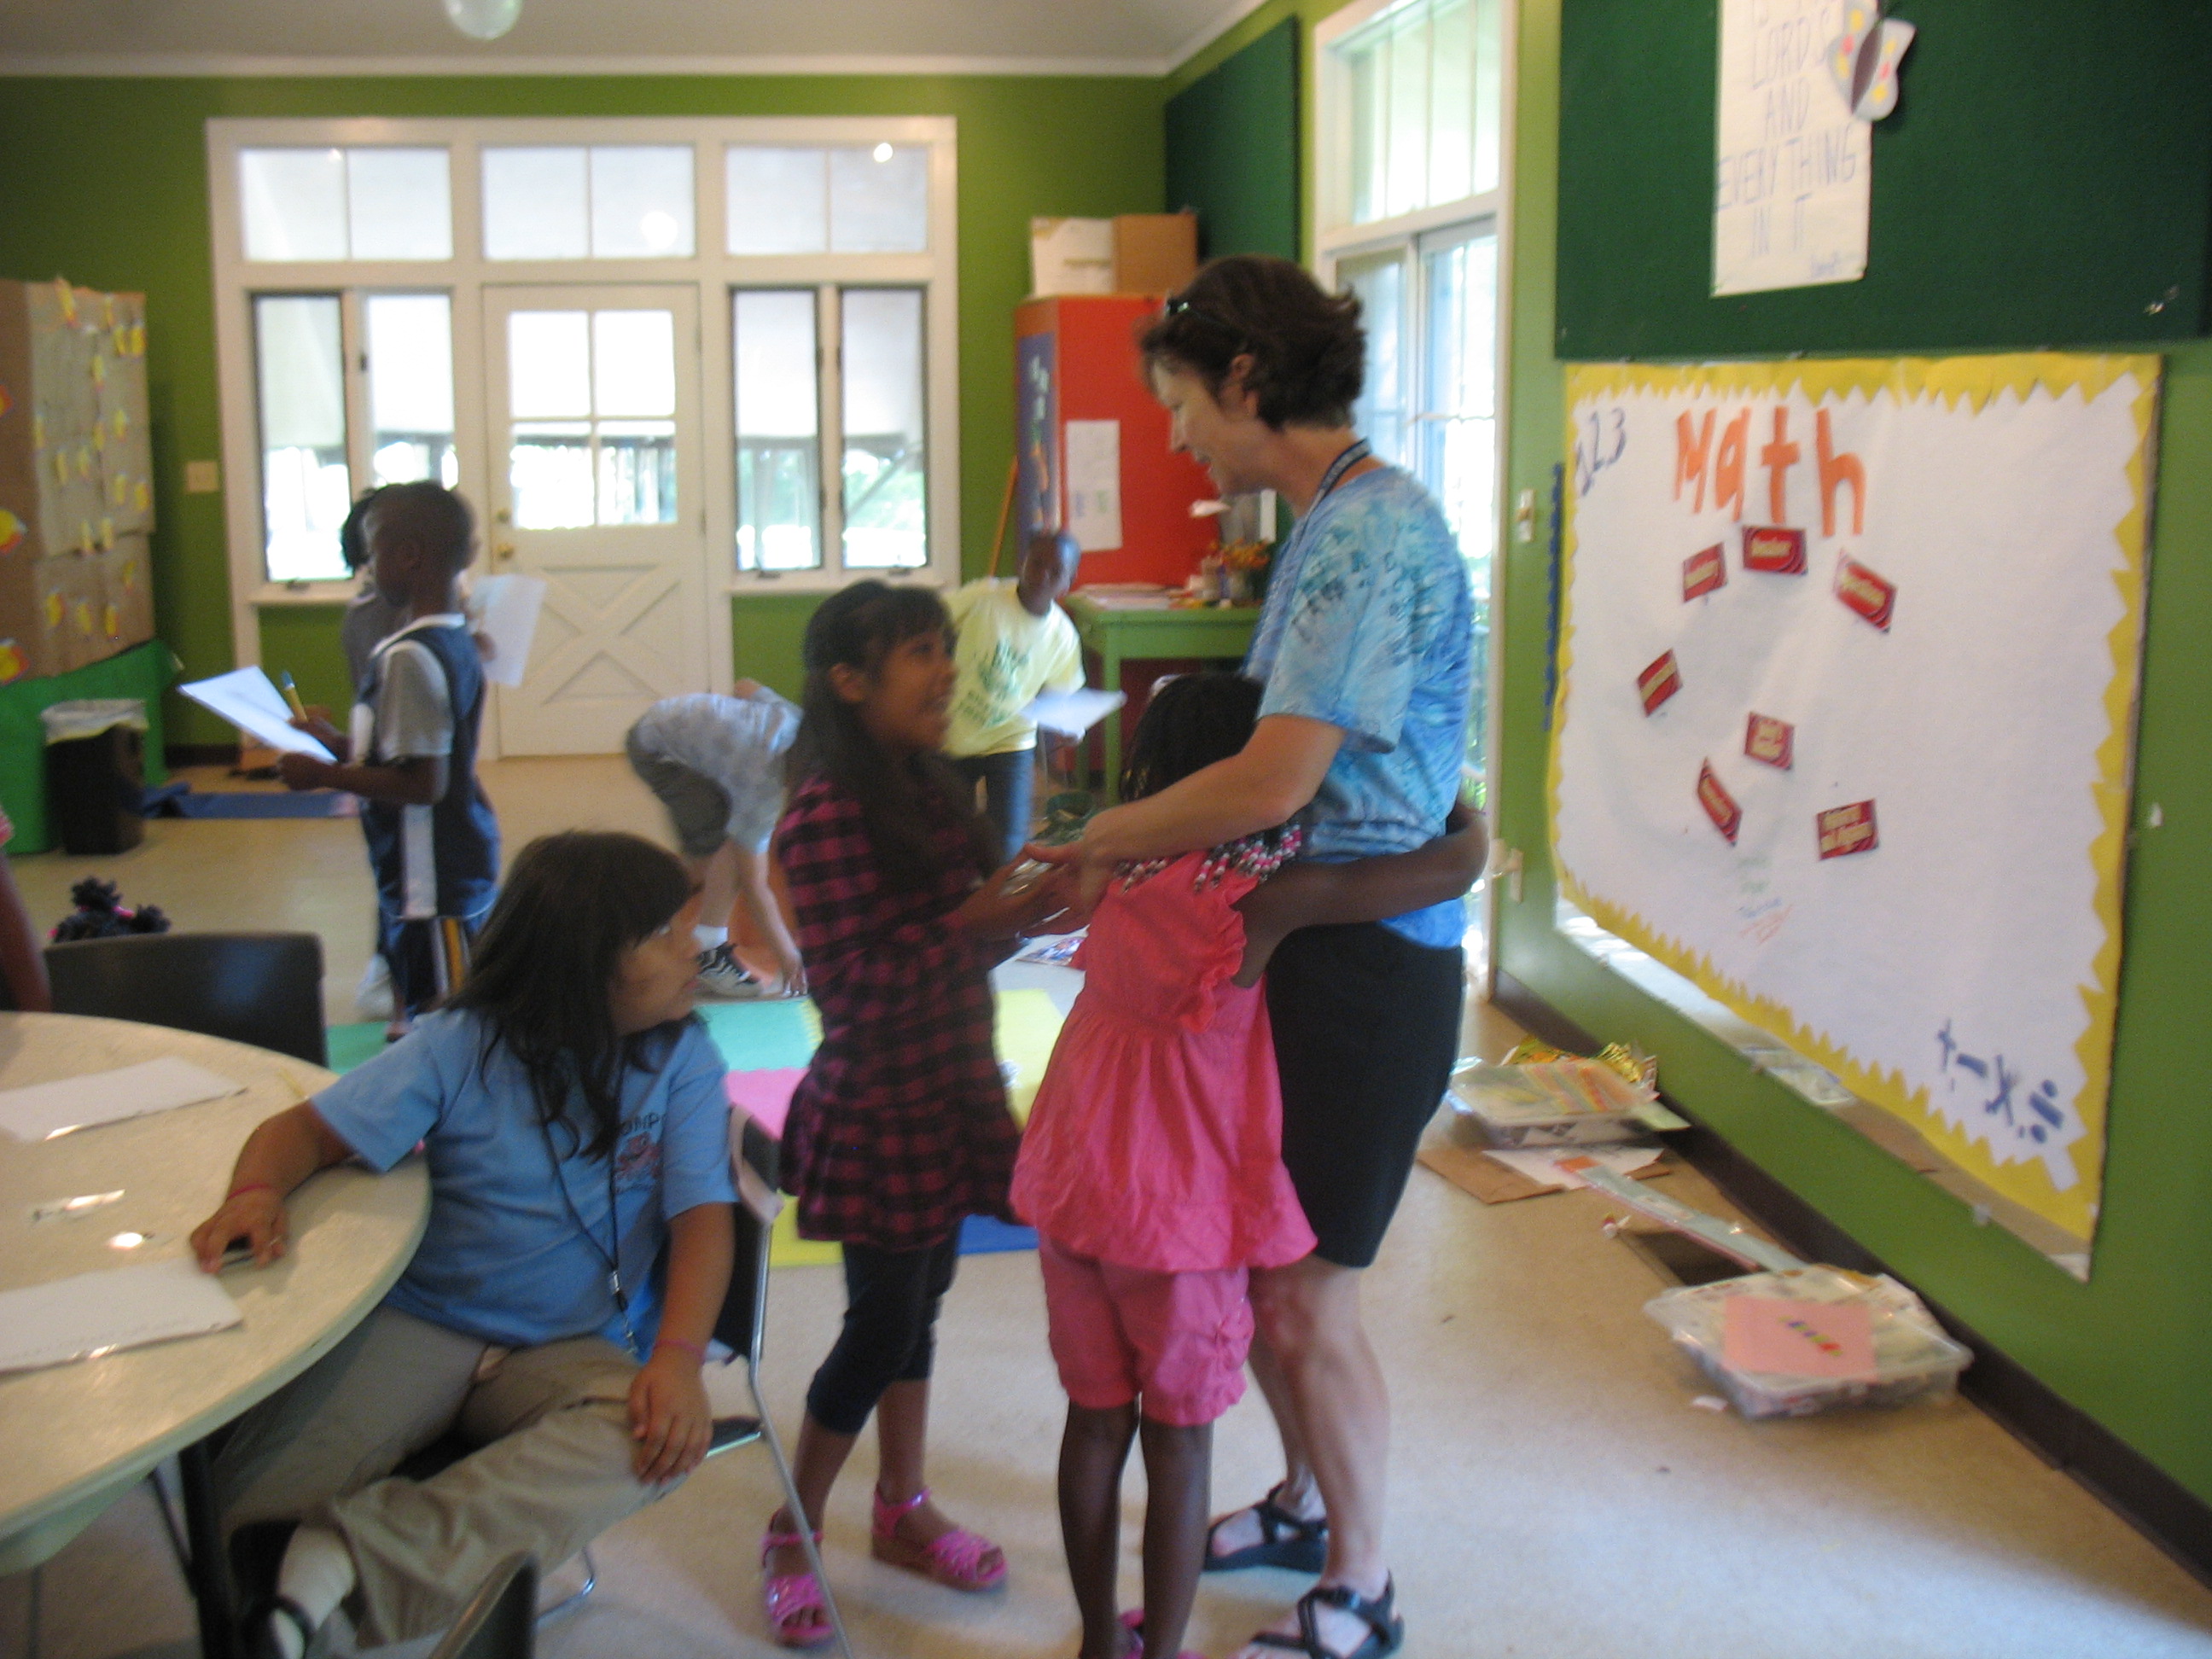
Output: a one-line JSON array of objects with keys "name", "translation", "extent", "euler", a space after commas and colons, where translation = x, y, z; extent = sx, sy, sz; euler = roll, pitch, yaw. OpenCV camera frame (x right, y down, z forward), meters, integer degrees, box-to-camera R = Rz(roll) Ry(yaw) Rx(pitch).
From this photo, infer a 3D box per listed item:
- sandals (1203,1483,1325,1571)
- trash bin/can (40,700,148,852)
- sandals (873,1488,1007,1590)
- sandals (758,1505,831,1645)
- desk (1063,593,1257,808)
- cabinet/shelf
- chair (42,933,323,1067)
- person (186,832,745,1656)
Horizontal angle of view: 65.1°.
[{"name": "sandals", "translation": [0.252, 1.127, 2.819], "extent": [0.195, 0.083, 0.111], "euler": [1, 0, -12]}, {"name": "trash bin/can", "translation": [-4.207, -0.213, 7.162], "extent": [0.393, 0.561, 0.408], "euler": [0, 14, -3]}, {"name": "sandals", "translation": [-0.274, 1.139, 2.815], "extent": [0.211, 0.103, 0.106], "euler": [6, 9, 25]}, {"name": "sandals", "translation": [-0.501, 1.159, 2.723], "extent": [0.092, 0.120, 0.284], "euler": [1, 2, -21]}, {"name": "desk", "translation": [0.039, -0.584, 7.417], "extent": [0.571, 0.742, 0.768], "euler": [5, 12, -27]}, {"name": "cabinet/shelf", "translation": [-0.032, -1.637, 8.795], "extent": [0.818, 2.471, 1.420], "euler": [-10, 37, -15]}, {"name": "chair", "translation": [-1.634, 0.276, 3.090], "extent": [0.317, 0.255, 0.319], "euler": [5, 4, 43]}, {"name": "person", "translation": [-0.726, 0.459, 2.288], "extent": [0.546, 0.707, 1.001], "euler": [18, 23, -3]}]
